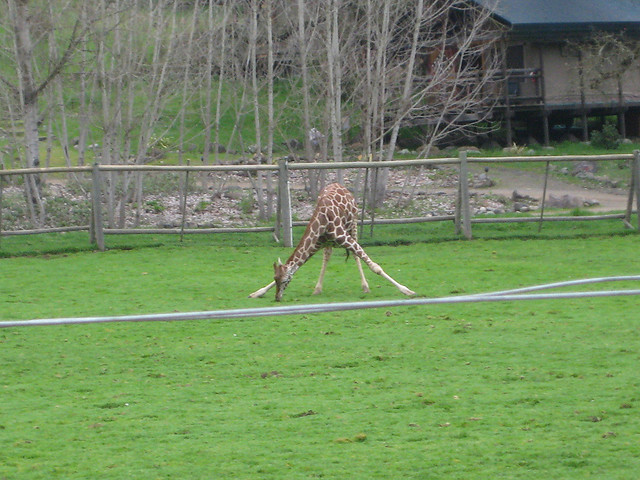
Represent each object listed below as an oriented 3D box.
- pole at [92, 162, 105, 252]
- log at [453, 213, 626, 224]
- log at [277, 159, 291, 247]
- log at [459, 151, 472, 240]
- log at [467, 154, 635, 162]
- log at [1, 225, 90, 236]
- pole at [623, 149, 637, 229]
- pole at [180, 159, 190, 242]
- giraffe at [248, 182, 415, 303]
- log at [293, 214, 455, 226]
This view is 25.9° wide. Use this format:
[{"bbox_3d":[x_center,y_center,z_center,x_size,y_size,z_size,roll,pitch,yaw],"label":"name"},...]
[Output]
[{"bbox_3d":[-5.658,-0.802,35.420,0.203,2.203,0.442,-3,5,-8],"label":"pole"},{"bbox_3d":[6.001,-0.519,36.797,4.108,0.152,0.366,-2,4,-4],"label":"log"},{"bbox_3d":[-0.911,-0.903,35.508,0.226,2.235,0.507,-3,4,-1],"label":"log"},{"bbox_3d":[3.772,-1.102,36.136,0.243,2.239,0.909,-2,4,6],"label":"log"},{"bbox_3d":[6.002,-2.044,35.851,4.300,0.134,1.323,-2,4,-2],"label":"log"},{"bbox_3d":[-7.109,-0.209,35.924,2.249,0.196,0.202,-2,4,-1],"label":"log"},{"bbox_3d":[8.133,-1.348,36.419,0.217,1.866,0.605,-3,4,-6],"label":"pole"},{"bbox_3d":[-3.535,-0.833,36.128,0.298,1.755,0.332,-3,4,-1],"label":"pole"},{"bbox_3d":[0.127,-0.125,31.719,3.292,1.458,3.103,0,12,23],"label":"giraffe"},{"bbox_3d":[1.393,-0.470,36.604,4.261,0.215,0.504,-2,4,-5],"label":"log"}]
